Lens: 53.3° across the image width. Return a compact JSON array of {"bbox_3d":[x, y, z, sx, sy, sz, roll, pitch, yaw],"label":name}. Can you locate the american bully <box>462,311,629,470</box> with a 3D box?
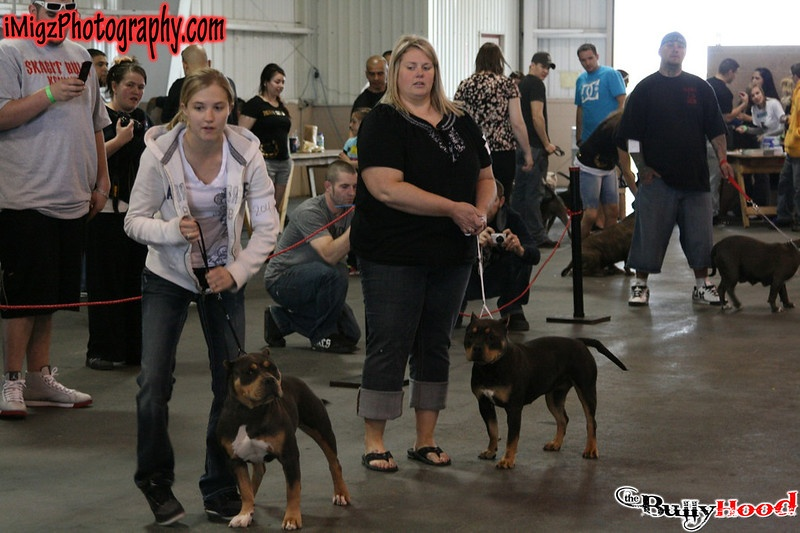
[{"bbox_3d":[0.877,0.800,4.943,1.355,0.900,0.419,6,-4,-35],"label":"american bully"}]

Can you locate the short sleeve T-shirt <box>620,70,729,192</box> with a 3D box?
[{"bbox_3d":[2.848,-1.398,8.304,1.066,1.318,0.585,-3,5,12],"label":"short sleeve T-shirt"}]

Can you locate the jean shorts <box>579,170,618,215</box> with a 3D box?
[{"bbox_3d":[2.701,-1.024,10.901,0.353,0.664,0.670,-3,4,39],"label":"jean shorts"}]

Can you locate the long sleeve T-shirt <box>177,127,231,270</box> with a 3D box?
[{"bbox_3d":[-0.985,-0.330,4.031,0.299,0.640,0.154,1,10,-3],"label":"long sleeve T-shirt"}]

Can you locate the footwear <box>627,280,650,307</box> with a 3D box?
[{"bbox_3d":[2.601,0.316,8.694,0.243,0.327,0.713,-1,0,16],"label":"footwear"}]

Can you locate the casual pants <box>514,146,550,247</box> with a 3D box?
[{"bbox_3d":[1.986,-1.204,12.106,0.460,1.509,0.420,9,16,36],"label":"casual pants"}]

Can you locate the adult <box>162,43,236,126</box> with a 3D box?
[{"bbox_3d":[-2.037,-1.606,7.960,0.732,1.183,0.563,3,-9,-9],"label":"adult"}]

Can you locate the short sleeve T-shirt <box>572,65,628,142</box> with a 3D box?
[{"bbox_3d":[3.118,-2.546,12.506,0.470,1.179,0.912,-2,1,-41],"label":"short sleeve T-shirt"}]

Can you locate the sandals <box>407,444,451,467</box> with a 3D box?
[{"bbox_3d":[0.178,1.175,4.901,0.188,0.065,0.116,4,6,41],"label":"sandals"}]

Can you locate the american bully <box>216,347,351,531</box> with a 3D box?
[{"bbox_3d":[-0.615,0.886,4.177,0.401,0.952,0.597,5,11,33],"label":"american bully"}]

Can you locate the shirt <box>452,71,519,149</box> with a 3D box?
[{"bbox_3d":[0.984,-1.835,9.362,0.846,0.848,0.438,-5,10,-30],"label":"shirt"}]

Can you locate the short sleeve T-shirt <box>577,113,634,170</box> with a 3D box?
[{"bbox_3d":[2.721,-1.861,10.862,0.704,1.017,0.603,9,30,14],"label":"short sleeve T-shirt"}]

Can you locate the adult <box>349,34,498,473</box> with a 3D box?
[{"bbox_3d":[0.197,-0.090,4.824,0.915,2.658,0.919,0,0,-33],"label":"adult"}]

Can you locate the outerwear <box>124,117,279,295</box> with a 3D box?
[{"bbox_3d":[-1.028,-0.286,4.144,0.756,0.814,0.625,1,15,-24],"label":"outerwear"}]

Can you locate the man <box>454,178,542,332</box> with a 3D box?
[{"bbox_3d":[0.818,-0.132,7.441,0.878,1.327,0.796,-2,8,-2],"label":"man"}]

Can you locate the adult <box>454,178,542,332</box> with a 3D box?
[{"bbox_3d":[0.824,-0.130,7.460,0.873,1.247,0.727,-1,12,3],"label":"adult"}]
